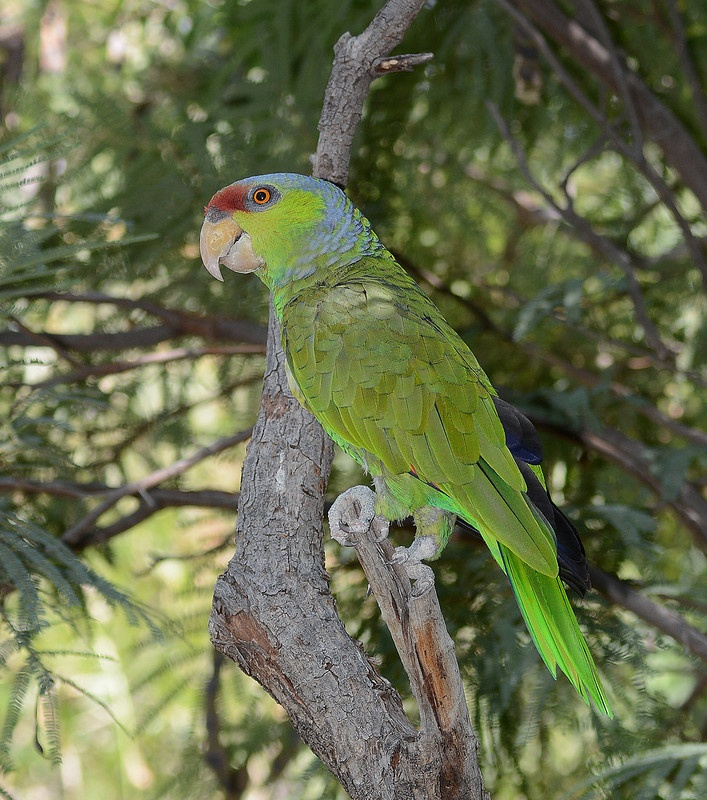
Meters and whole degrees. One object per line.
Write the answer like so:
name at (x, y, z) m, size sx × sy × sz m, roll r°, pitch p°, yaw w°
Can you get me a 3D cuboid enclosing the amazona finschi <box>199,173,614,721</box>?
amazona finschi at (0.097, 0.029, 2.270) m, size 0.618 × 1.134 × 0.918 m, roll -10°, pitch 11°, yaw -11°
